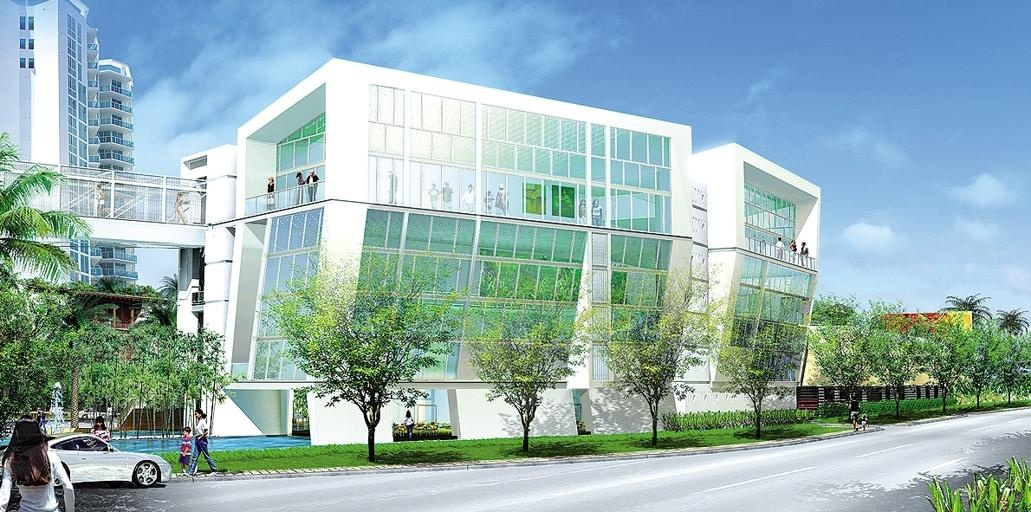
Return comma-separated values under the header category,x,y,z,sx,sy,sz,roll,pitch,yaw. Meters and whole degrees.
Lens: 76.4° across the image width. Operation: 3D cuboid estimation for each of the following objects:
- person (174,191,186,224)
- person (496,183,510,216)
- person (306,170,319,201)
category,x,y,z,sx,sy,sz,roll,pitch,yaw
person,-32.020,-4.701,62.352,1.078,2.826,0.394,7,-14,-21
person,-1.196,-4.958,57.257,1.174,2.641,0.524,4,-13,-11
person,-17.111,-5.887,54.898,1.631,2.867,0.551,-11,-18,44
